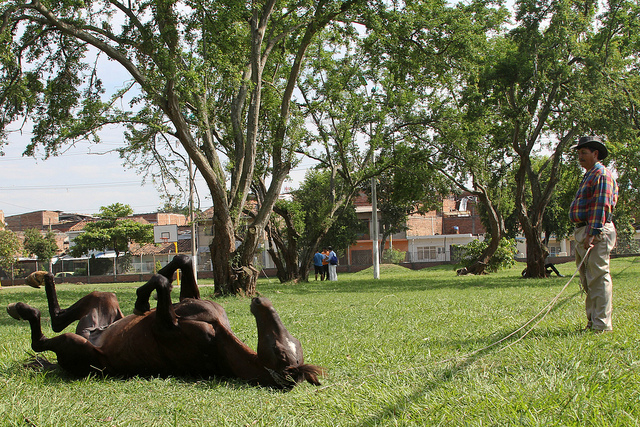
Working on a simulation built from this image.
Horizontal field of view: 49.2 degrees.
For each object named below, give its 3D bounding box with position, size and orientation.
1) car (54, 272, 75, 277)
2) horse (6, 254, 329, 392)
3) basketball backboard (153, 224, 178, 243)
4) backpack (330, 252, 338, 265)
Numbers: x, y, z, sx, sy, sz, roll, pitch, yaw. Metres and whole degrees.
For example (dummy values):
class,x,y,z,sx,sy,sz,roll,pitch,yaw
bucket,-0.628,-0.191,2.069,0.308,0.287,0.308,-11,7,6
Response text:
class,x,y,z,sx,sy,sz,roll,pitch,yaw
car,-22.778,5.441,62.205,1.618,0.655,0.877,-4,3,3
horse,-2.716,2.000,12.243,5.055,1.913,0.796,1,15,10
basketball backboard,-9.149,1.226,41.448,1.284,0.905,0.514,-6,-7,24
backpack,0.703,2.396,35.524,0.358,0.632,0.457,-2,2,9
